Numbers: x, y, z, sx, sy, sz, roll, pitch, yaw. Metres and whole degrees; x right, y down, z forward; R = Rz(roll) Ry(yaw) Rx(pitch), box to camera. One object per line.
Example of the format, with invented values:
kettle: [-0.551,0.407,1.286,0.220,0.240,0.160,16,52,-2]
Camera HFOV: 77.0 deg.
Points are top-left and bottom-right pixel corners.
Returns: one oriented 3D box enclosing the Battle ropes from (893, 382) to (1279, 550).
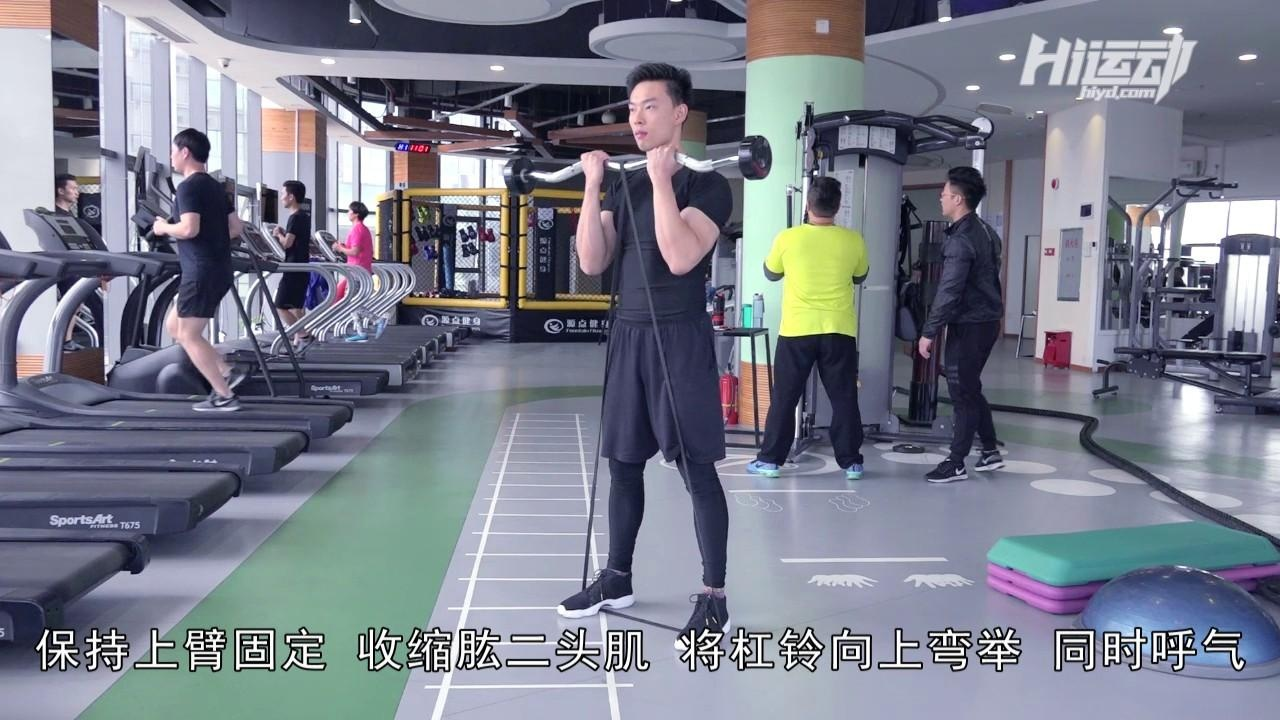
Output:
Battle ropes: [3.753,0.773,6.116,0.883,0.081,1.893,-5,4,-7]

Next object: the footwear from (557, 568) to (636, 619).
footwear: [-0.286,1.226,4.237,0.516,0.229,0.170,1,-2,-16]

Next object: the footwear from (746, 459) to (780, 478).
footwear: [0.940,0.821,6.117,0.107,0.117,0.273,-2,8,-30]

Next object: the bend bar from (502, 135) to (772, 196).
bend bar: [-0.042,-0.972,4.037,1.338,0.219,0.331,2,8,17]

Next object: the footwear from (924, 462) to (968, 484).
footwear: [2.300,0.842,5.991,0.335,0.130,0.133,0,-4,-13]

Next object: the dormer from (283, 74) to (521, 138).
dormer: [-4.951,-4.463,14.043,1.293,0.544,3.230,0,7,0]

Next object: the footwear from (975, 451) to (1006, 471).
footwear: [2.734,0.793,6.311,0.126,0.126,0.286,-1,-1,-5]

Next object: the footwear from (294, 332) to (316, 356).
footwear: [-3.727,-0.158,8.942,0.219,0.163,0.405,-4,-4,-17]

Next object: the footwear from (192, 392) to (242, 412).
footwear: [-3.397,0.336,6.417,0.375,0.145,0.147,2,-2,-8]
